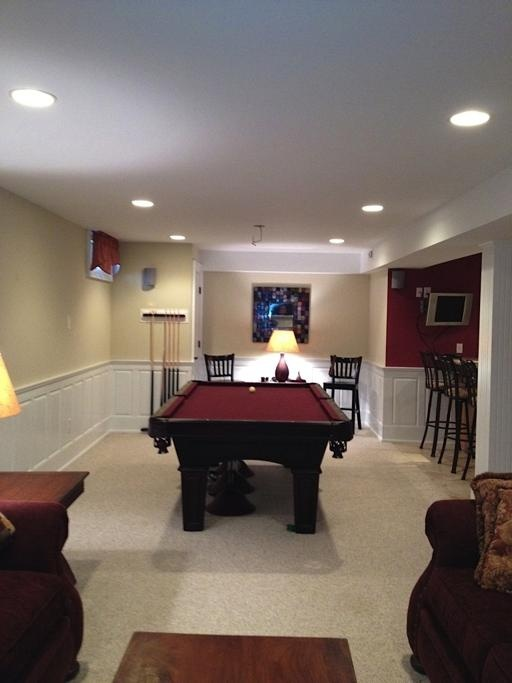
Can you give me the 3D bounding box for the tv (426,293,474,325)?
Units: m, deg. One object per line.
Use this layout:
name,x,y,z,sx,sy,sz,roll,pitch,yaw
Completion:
tv,2.162,-0.365,5.743,0.362,0.265,0.050,0,10,-5

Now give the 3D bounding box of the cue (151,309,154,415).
cue,-1.290,0.356,6.366,0.039,1.265,0.035,6,8,21

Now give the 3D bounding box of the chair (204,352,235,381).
chair,-0.492,0.366,7.065,0.392,0.391,0.769,1,2,-2

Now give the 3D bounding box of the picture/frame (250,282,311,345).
picture/frame,0.367,-0.430,7.246,0.882,0.896,0.039,0,2,2

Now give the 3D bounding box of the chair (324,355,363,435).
chair,1.141,0.665,6.765,0.512,0.959,0.986,2,2,12

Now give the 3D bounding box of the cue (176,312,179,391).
cue,-0.978,0.167,6.417,0.044,0.787,0.075,1,2,-11
